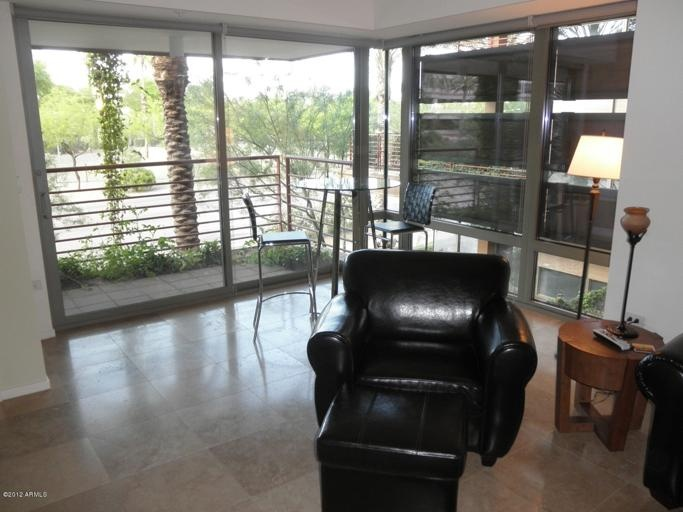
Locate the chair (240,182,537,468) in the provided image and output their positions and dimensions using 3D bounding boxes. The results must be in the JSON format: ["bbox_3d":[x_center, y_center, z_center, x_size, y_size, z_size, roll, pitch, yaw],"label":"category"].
[{"bbox_3d":[0.413,0.614,3.358,2.030,1.570,1.141,3,13,15],"label":"chair"}]
